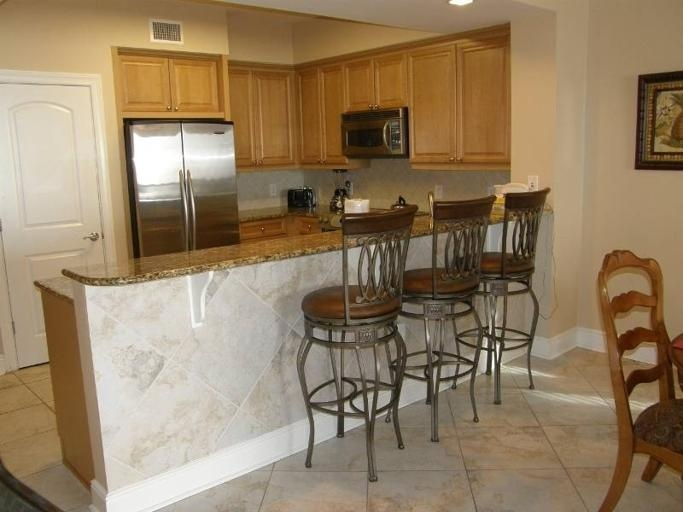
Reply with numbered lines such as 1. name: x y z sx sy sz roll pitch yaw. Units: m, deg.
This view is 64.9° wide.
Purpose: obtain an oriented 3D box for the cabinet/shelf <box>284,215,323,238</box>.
1. cabinet/shelf: -0.424 -0.345 6.022 0.343 0.354 0.257 -2 1 29

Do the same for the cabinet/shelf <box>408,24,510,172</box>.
1. cabinet/shelf: 1.036 -1.386 4.598 0.462 1.243 1.145 -9 11 -44

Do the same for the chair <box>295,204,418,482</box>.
1. chair: 0.130 0.455 3.196 0.851 1.504 0.595 -13 16 -42

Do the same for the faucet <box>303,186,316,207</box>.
1. faucet: -0.370 -0.711 6.467 0.121 0.232 0.199 2 13 22

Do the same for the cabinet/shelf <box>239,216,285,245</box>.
1. cabinet/shelf: -0.868 -0.303 5.873 0.081 0.257 0.666 7 15 38

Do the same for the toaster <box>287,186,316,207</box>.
1. toaster: -0.494 -0.690 6.414 0.366 0.291 0.226 -1 5 2
